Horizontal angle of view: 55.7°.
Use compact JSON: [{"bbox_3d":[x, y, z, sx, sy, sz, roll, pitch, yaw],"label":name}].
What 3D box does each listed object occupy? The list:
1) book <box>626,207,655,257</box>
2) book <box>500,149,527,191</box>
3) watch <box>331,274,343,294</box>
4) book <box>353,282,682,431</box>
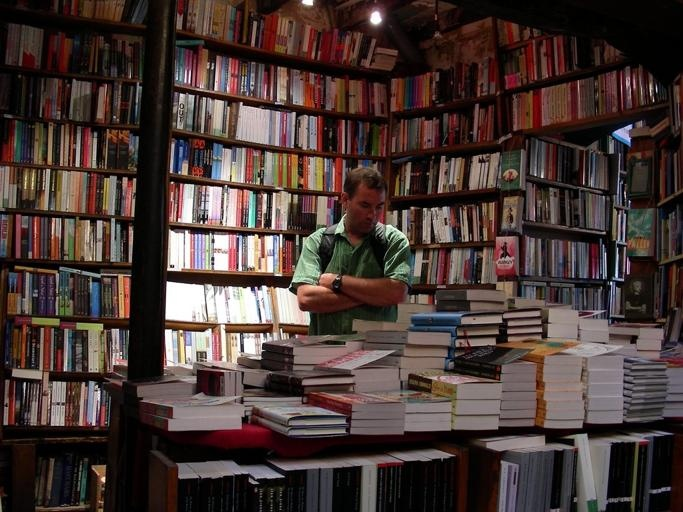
[{"bbox_3d":[2.515,-0.203,5.393,0.096,0.431,0.220,6,-12,-42],"label":"book"},{"bbox_3d":[1.456,-0.721,5.471,0.100,0.318,0.240,7,-5,-39],"label":"book"},{"bbox_3d":[-0.020,0.156,3.453,0.058,0.090,0.090,14,-1,2],"label":"watch"},{"bbox_3d":[0.941,0.380,2.855,0.751,0.283,0.878,-1,2,-31],"label":"book"}]
